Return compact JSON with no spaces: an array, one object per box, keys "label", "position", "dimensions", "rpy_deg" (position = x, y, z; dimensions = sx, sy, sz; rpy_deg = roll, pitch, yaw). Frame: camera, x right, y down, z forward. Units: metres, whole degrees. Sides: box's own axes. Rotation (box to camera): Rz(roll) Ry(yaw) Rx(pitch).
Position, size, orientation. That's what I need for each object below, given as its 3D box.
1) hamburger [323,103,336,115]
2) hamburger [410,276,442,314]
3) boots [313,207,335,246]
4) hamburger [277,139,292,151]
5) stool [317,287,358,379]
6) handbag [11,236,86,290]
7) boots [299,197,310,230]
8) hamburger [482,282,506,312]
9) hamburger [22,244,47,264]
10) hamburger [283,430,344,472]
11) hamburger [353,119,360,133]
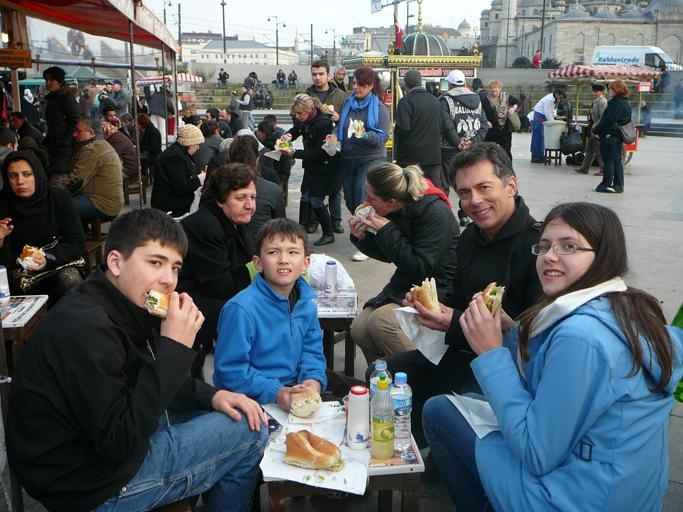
[{"label":"hamburger","position":[-0.178,-2.167,8.332],"dimensions":[0.169,0.120,0.459],"rpy_deg":[0,16,-3]},{"label":"hamburger","position":[0.505,0.238,3.391],"dimensions":[0.181,0.186,0.078],"rpy_deg":[-35,16,-2]},{"label":"boots","position":[-0.258,-0.446,8.142],"dimensions":[0.353,0.567,0.208],"rpy_deg":[-13,12,-33]},{"label":"hamburger","position":[-0.813,-1.576,8.081],"dimensions":[0.252,0.147,0.195],"rpy_deg":[2,16,1]},{"label":"stool","position":[-0.040,0.648,4.512],"dimensions":[0.312,0.756,0.652],"rpy_deg":[1,16,1]},{"label":"handbag","position":[-2.621,0.075,5.031],"dimensions":[0.309,0.407,0.607],"rpy_deg":[9,18,26]},{"label":"boots","position":[-0.543,-0.649,8.583],"dimensions":[0.175,0.521,0.358],"rpy_deg":[0,16,-4]},{"label":"hamburger","position":[0.774,0.206,2.865],"dimensions":[0.121,0.158,0.059],"rpy_deg":[-8,-30,44]},{"label":"hamburger","position":[-2.619,-0.032,4.863],"dimensions":[0.129,0.172,0.174],"rpy_deg":[41,-5,-26]},{"label":"hamburger","position":[-0.131,0.898,2.621],"dimensions":[0.288,0.100,0.160],"rpy_deg":[7,17,18]},{"label":"hamburger","position":[0.199,-1.689,7.418],"dimensions":[0.076,0.151,0.221],"rpy_deg":[-1,16,-8]}]
